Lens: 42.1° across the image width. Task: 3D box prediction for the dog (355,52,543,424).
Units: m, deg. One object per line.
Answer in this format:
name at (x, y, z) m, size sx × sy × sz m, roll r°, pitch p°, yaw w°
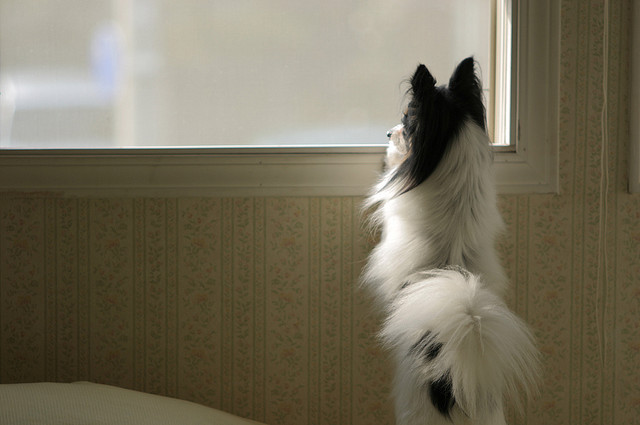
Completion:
dog at (0.474, 0.195, 3.355) m, size 0.559 × 1.559 × 0.860 m, roll 0°, pitch -19°, yaw 1°
